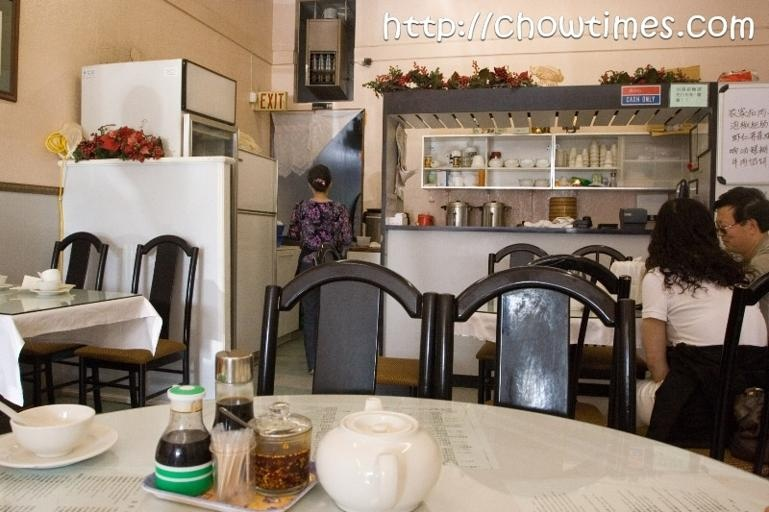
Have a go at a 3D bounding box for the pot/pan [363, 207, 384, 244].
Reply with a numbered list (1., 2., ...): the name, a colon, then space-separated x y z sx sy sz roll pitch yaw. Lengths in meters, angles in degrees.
1. pot/pan: -0.139 -0.356 7.196 0.174 0.338 0.510 -1 14 -6

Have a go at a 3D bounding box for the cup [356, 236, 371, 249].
1. cup: -0.222 -0.144 6.564 0.136 0.096 0.135 0 -1 0

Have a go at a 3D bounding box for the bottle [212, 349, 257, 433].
1. bottle: -0.440 0.378 1.815 0.117 0.202 0.192 -4 14 -15

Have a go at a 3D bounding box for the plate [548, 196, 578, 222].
1. plate: 1.971 -0.527 6.910 0.283 0.255 0.202 9 16 32

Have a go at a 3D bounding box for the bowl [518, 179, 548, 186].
1. bowl: 1.699 -0.829 7.097 0.183 0.063 0.138 2 5 24

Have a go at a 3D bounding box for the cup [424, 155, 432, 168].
1. cup: 0.507 -1.091 7.217 0.115 0.172 0.115 0 2 0

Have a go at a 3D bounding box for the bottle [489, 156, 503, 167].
1. bottle: 1.282 -1.081 7.188 0.154 0.104 0.140 -1 4 8

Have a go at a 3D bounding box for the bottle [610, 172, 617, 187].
1. bottle: 2.566 -0.869 7.004 0.082 0.150 0.148 5 15 20

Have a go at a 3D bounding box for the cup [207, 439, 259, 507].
1. cup: -0.414 0.585 1.716 0.106 0.189 0.068 -2 14 -11

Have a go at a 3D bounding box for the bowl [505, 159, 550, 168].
1. bowl: 1.609 -1.049 7.092 0.505 0.101 0.153 2 14 5

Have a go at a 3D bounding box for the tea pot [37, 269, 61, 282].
1. tea pot: -1.971 0.111 3.658 0.136 0.093 0.103 -1 3 -6

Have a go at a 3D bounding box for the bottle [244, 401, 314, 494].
1. bottle: -0.281 0.530 1.790 0.216 0.238 0.217 0 -1 -1

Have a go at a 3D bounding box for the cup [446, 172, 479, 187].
1. cup: 0.904 -0.883 7.196 0.331 0.179 0.211 2 0 0

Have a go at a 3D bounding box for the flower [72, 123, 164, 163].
1. flower: -1.857 -0.765 4.425 0.429 0.189 0.446 2 4 33
